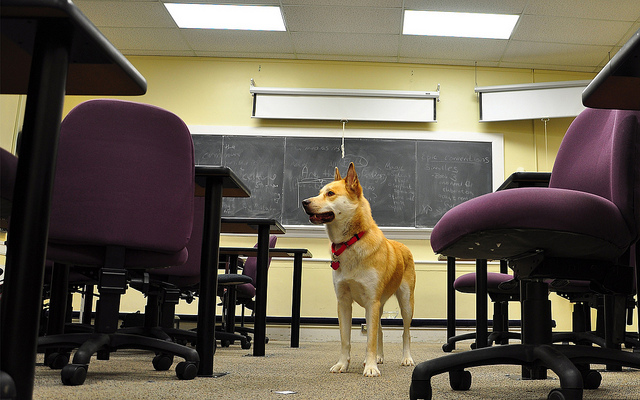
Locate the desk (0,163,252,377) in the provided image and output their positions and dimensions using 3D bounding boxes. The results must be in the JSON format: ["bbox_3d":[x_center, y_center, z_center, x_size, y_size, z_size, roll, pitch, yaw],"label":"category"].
[{"bbox_3d":[-0.959,0.378,2.719,1.121,0.850,0.858,1,-8,-4],"label":"desk"}]

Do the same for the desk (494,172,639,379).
[{"bbox_3d":[0.922,0.333,2.528,1.015,0.830,0.706,0,-1,4],"label":"desk"}]

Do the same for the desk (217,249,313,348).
[{"bbox_3d":[-0.500,0.788,4.568,0.868,0.644,0.801,-3,-8,7],"label":"desk"}]

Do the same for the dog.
[{"bbox_3d":[0.231,0.374,2.923,0.472,1.149,0.680,-4,-14,27],"label":"dog"}]

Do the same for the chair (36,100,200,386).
[{"bbox_3d":[-0.907,0.216,2.346,0.779,1.087,0.771,-2,-17,14],"label":"chair"}]
